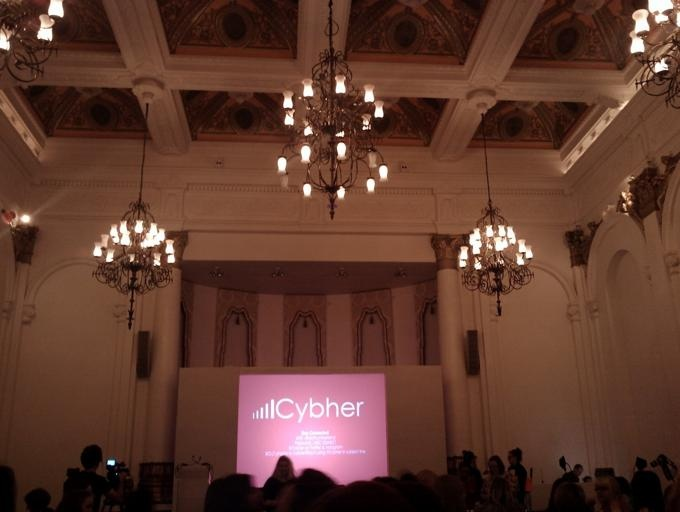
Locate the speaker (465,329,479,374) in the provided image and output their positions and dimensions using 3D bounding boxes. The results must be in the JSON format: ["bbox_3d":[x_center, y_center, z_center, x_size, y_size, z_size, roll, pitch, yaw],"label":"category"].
[{"bbox_3d":[2.804,2.044,12.027,0.303,0.901,0.346,-3,-21,7],"label":"speaker"}]

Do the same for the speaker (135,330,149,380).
[{"bbox_3d":[-4.017,2.020,11.604,0.328,0.935,0.345,0,-21,-3],"label":"speaker"}]
